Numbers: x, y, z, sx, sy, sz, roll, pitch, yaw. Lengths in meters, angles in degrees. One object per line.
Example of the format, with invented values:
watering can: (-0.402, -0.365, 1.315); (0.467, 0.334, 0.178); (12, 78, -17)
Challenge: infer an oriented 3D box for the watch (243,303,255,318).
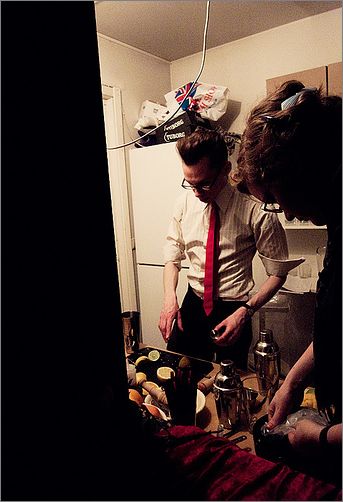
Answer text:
watch: (0.290, 0.235, 1.580); (0.035, 0.051, 0.046); (4, -12, -36)

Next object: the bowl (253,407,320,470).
bowl: (0.202, 0.348, 0.752); (0.077, 0.027, 0.108); (-5, 16, 9)

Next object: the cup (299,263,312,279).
cup: (0.859, 0.127, 2.618); (0.099, 0.118, 0.074); (-1, 3, 2)
